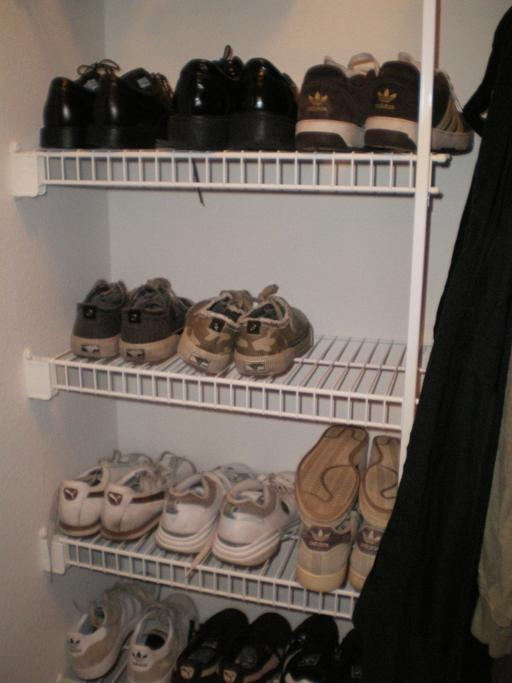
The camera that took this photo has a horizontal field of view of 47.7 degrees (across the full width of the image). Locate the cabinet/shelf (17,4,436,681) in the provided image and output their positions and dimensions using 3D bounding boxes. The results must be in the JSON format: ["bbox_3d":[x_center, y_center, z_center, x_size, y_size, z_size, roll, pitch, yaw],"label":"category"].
[{"bbox_3d":[-0.047,-0.041,1.064,0.691,0.937,0.424,6,19,18],"label":"cabinet/shelf"}]

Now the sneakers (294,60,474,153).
[{"bbox_3d":[0.197,-0.367,0.881,0.258,0.154,0.198,7,19,19],"label":"sneakers"}]

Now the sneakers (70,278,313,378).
[{"bbox_3d":[-0.118,-0.042,1.050,0.276,0.099,0.229,4,18,7],"label":"sneakers"}]
